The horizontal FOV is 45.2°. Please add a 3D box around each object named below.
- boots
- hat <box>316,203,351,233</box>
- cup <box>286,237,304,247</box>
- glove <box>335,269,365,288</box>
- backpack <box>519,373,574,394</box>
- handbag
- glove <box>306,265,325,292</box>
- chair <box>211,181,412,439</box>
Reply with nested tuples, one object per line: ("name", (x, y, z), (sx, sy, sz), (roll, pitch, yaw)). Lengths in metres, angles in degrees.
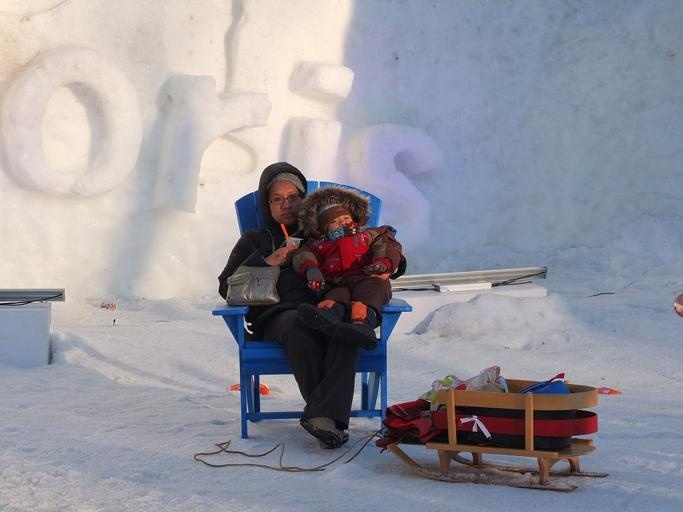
("boots", (-0.018, 0.428, 5.185), (0.485, 0.274, 0.282), (0, 10, -1))
("hat", (-0.064, -0.280, 5.683), (0.178, 0.118, 0.218), (-16, 20, 3))
("cup", (-0.322, -0.093, 5.742), (0.078, 0.081, 0.077), (1, -7, 0))
("glove", (0.055, 0.153, 5.524), (0.117, 0.057, 0.157), (-23, 0, -16))
("backpack", (1.195, 0.749, 4.761), (0.192, 0.070, 0.136), (-1, 1, 6))
("handbag", (-0.581, 0.199, 5.447), (0.296, 0.269, 0.120), (0, -35, 5))
("glove", (-0.169, 0.152, 5.473), (0.120, 0.171, 0.202), (-1, 10, -6))
("chair", (-0.240, 0.385, 5.771), (1.219, 1.732, 1.262), (-1, 10, -4))
